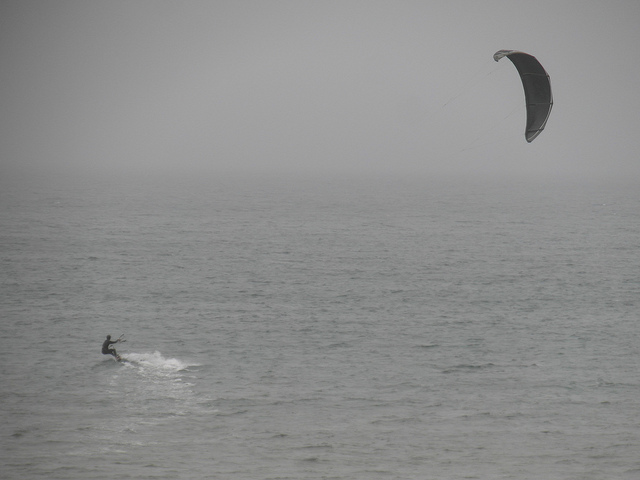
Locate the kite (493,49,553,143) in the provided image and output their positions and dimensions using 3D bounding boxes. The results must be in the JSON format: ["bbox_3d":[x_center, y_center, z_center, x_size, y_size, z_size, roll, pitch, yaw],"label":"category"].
[{"bbox_3d":[6.977,-4.991,33.229,1.896,2.177,1.932,10,6,9],"label":"kite"}]

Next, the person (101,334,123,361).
[{"bbox_3d":[-6.977,3.645,32.455,0.758,0.867,0.513,-29,44,-34],"label":"person"}]
